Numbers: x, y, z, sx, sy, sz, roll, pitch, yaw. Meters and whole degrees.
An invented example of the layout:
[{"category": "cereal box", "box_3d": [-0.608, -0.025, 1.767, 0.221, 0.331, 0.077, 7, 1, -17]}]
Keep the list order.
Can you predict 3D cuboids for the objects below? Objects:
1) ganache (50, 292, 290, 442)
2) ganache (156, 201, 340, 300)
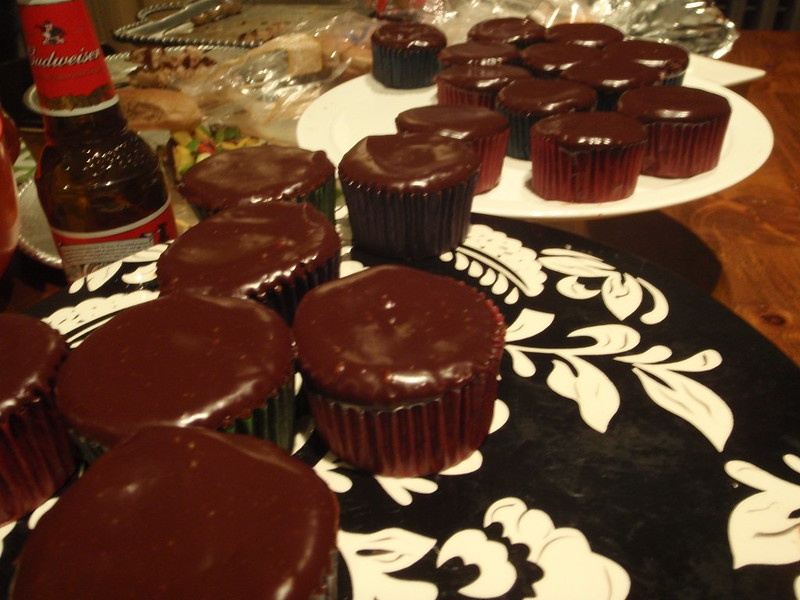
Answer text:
[{"category": "ganache", "box_3d": [-0.265, 0.100, 0.855, 0.276, 0.128, 0.190, -11, 43, -10]}, {"category": "ganache", "box_3d": [-0.209, -0.095, 0.958, 0.166, 0.069, 0.174, 12, 29, 33]}]
